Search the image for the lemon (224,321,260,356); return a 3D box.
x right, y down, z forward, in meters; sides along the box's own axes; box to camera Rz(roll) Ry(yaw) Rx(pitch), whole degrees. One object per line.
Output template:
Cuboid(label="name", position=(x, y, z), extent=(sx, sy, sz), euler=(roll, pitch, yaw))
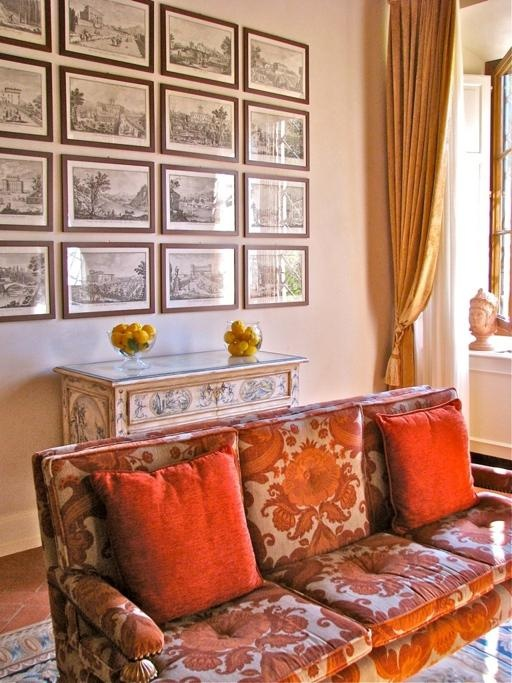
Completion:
Cuboid(label="lemon", position=(-0.083, -0.003, 2.955), extent=(0.193, 0.177, 0.189), euler=(2, -5, -5))

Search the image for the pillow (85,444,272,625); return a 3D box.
Cuboid(label="pillow", position=(-0.172, 0.461, 1.304), extent=(0.396, 0.329, 0.203), euler=(-4, 3, -40))

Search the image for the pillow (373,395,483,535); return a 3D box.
Cuboid(label="pillow", position=(0.594, 0.428, 1.929), extent=(0.470, 0.381, 0.219), euler=(-6, 20, -38))

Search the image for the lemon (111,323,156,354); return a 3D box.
Cuboid(label="lemon", position=(-0.574, -0.008, 2.568), extent=(0.165, 0.108, 0.155), euler=(-1, -2, -17))
